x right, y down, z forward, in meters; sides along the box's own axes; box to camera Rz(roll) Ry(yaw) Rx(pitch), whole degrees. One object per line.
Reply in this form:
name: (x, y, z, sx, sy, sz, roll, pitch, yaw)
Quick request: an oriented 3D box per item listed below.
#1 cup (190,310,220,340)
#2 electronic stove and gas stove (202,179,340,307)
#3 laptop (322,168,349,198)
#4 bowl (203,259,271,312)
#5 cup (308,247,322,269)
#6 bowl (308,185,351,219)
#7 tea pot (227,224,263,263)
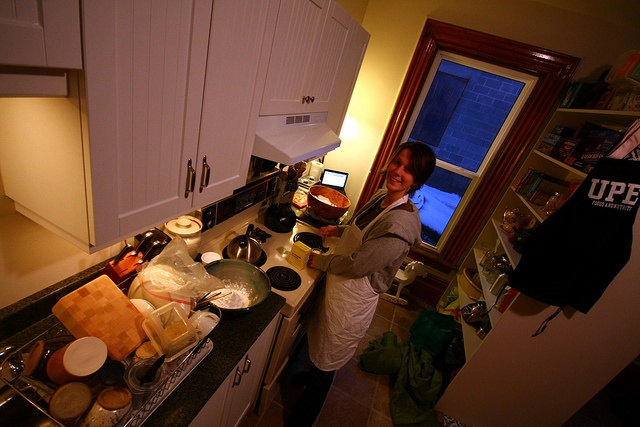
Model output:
cup: (-0.618, 0.593, 2.024, 0.141, 0.101, 0.145, 12, 26, -6)
electronic stove and gas stove: (-0.370, 0.198, 2.911, 0.782, 0.581, 1.123, 31, 31, 3)
laptop: (0.144, -0.356, 4.166, 0.324, 0.229, 0.259, 7, 28, -14)
bowl: (-0.507, 0.440, 2.402, 0.309, 0.110, 0.311, 15, 36, -11)
cup: (-0.050, 0.316, 2.763, 0.119, 0.114, 0.119, 13, 12, -3)
bowl: (0.074, -0.126, 3.437, 0.331, 0.163, 0.339, 20, 21, -8)
tea pot: (-0.493, 0.200, 2.602, 0.164, 0.153, 0.216, 15, 13, 0)
